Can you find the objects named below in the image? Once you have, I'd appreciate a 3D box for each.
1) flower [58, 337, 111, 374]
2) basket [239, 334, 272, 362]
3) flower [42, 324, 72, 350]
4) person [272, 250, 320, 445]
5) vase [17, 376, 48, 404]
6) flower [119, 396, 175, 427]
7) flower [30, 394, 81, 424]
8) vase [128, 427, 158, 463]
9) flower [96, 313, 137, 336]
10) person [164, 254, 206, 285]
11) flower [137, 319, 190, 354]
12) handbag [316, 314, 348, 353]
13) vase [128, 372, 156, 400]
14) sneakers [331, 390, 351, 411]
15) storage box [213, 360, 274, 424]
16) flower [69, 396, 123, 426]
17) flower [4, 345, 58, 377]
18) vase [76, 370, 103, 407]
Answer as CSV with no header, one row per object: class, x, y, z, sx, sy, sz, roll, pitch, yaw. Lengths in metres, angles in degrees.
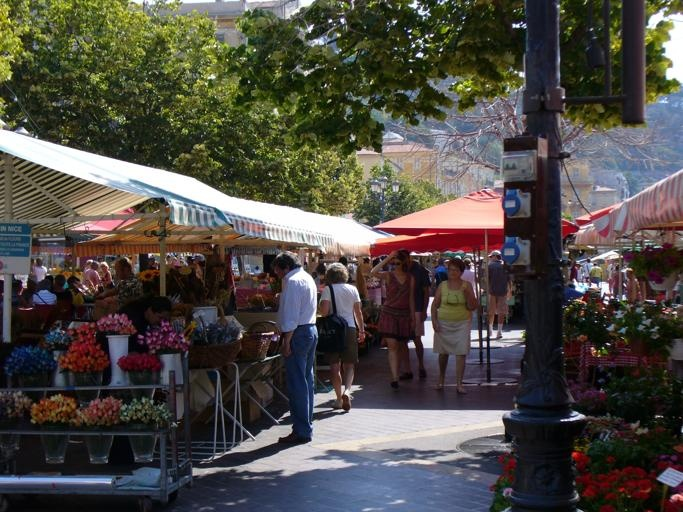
flower,-2.651,1.048,8.938,0.404,0.407,0.403,2,2,-7
basket,-1.083,1.172,11.117,0.396,0.267,0.311,-4,-6,41
flower,-2.977,0.859,9.176,0.266,0.271,0.261,3,-30,6
person,-0.549,1.130,10.791,0.467,2.323,0.487,0,3,-5
vase,-3.183,1.403,9.068,0.314,0.238,0.280,-1,0,22
flower,-1.988,1.598,8.809,0.411,0.232,0.311,4,-6,-8
flower,-2.959,1.586,8.921,0.360,0.256,0.355,2,-2,1
vase,-2.098,2.019,9.206,0.275,0.302,0.265,1,-13,-16
flower,-2.373,0.726,9.125,0.261,0.176,0.260,3,-1,-7
person,-2.955,0.266,16.562,0.592,0.378,0.756,-1,2,-42
flower,-1.833,0.862,9.122,0.380,0.301,0.388,1,-1,-43
handbag,-0.126,1.124,12.370,0.559,0.691,0.280,-1,-3,18
vase,-2.043,1.334,8.985,0.281,0.302,0.281,-2,-3,24
sneakers,0.002,2.128,12.499,0.145,0.388,0.260,-5,9,-26
storage box,-1.258,1.767,11.690,0.687,0.985,2.356,0,3,-6
flower,-2.479,1.625,8.857,0.395,0.221,0.313,-25,-5,37
flower,-3.226,1.093,8.991,0.354,0.239,0.360,-1,-6,28
vase,-2.634,1.383,9.032,0.345,0.376,0.341,0,-3,-7
